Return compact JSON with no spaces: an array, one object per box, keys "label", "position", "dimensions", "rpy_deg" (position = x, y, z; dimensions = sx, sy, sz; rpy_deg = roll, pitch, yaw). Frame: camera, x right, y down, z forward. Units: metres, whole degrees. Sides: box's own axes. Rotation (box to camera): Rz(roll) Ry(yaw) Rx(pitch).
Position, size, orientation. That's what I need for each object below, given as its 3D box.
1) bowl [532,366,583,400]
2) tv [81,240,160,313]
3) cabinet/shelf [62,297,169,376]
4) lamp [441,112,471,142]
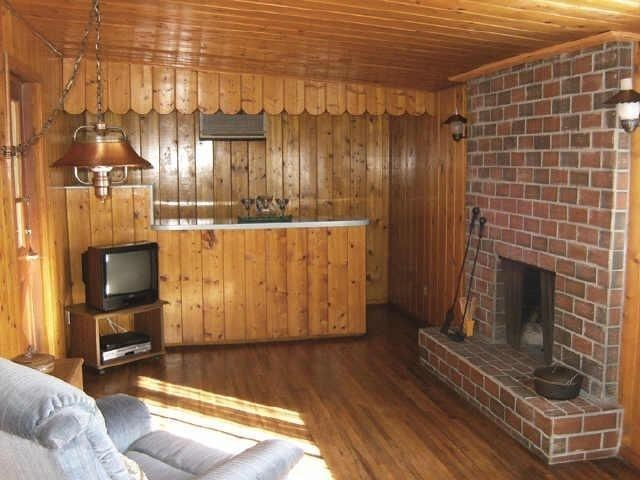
[{"label":"bowl","position":[1.603,0.968,3.825],"dimensions":[0.325,0.163,0.300],"rpy_deg":[0,10,0]},{"label":"tv","position":[-1.777,0.210,5.350],"dimensions":[0.809,0.785,0.577],"rpy_deg":[-4,7,-42]},{"label":"cabinet/shelf","position":[-1.896,0.855,5.225],"dimensions":[0.644,0.598,0.829],"rpy_deg":[3,5,39]},{"label":"lamp","position":[1.237,-1.050,5.239],"dimensions":[0.276,0.275,0.261],"rpy_deg":[-6,11,-17]}]
